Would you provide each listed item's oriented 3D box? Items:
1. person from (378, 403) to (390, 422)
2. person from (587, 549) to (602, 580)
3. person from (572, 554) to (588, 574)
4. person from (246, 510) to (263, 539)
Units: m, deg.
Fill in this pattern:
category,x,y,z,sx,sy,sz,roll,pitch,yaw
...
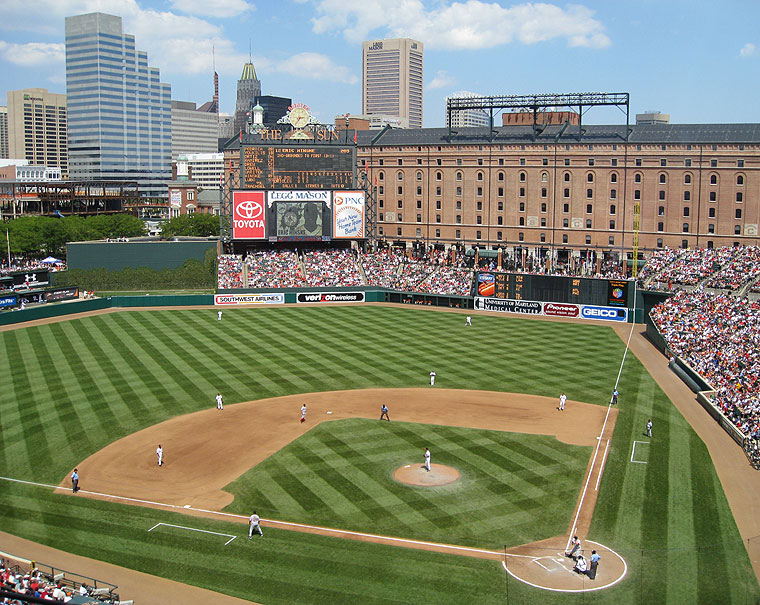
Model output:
category,x,y,z,sx,sy,sz,roll,pitch,yaw
person,0.358,7.843,60.329,0.634,1.414,0.511,-10,-28,10
person,10.530,12.584,41.475,0.548,1.197,1.697,4,14,15
person,9.921,12.832,41.645,0.537,0.523,0.828,7,13,7
person,-6.615,11.830,44.981,0.853,1.780,0.926,4,19,5
